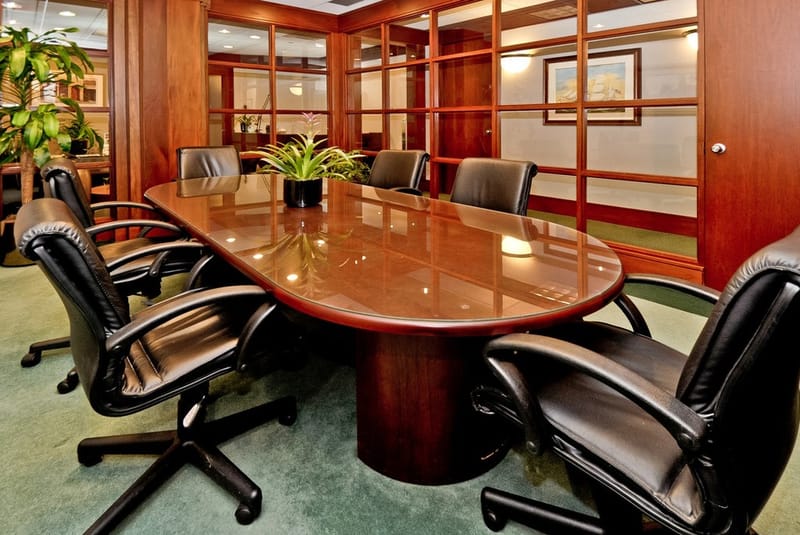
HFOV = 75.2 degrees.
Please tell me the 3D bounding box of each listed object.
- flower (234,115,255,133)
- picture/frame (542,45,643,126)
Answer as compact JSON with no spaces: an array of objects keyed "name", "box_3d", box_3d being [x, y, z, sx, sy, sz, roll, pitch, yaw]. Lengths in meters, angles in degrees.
[{"name":"flower","box_3d":[-1.636,-1.505,5.493,0.192,0.204,0.180,10,28,13]},{"name":"picture/frame","box_3d":[1.410,-1.309,3.749,0.018,0.469,0.722,-12,16,-43]}]
